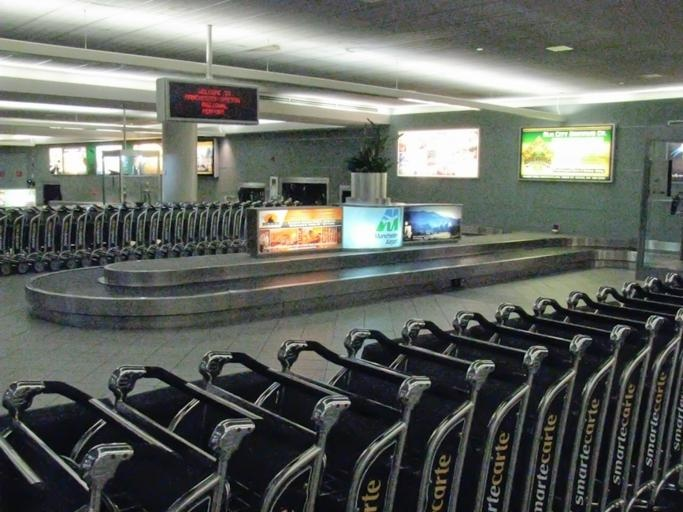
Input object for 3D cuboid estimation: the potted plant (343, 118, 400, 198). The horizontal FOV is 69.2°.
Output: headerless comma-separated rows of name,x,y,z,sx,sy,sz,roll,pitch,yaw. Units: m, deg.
potted plant,0.670,-2.061,11.246,1.120,1.494,0.999,8,12,19
